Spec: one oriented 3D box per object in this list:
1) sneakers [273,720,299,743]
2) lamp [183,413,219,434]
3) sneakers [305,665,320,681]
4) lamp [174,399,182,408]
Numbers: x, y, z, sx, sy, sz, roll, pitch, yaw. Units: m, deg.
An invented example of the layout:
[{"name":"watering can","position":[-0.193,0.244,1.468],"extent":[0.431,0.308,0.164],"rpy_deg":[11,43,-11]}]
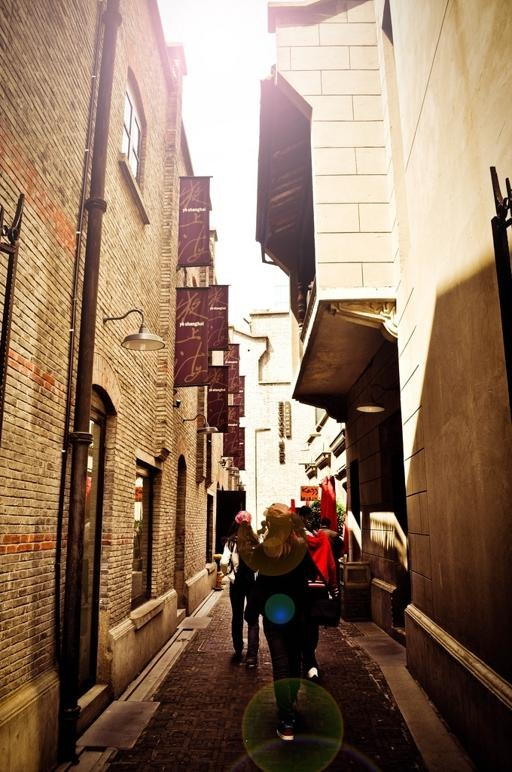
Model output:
[{"name":"sneakers","position":[0.233,2.572,3.902],"extent":[0.122,0.119,0.130],"rpy_deg":[-3,-15,5]},{"name":"lamp","position":[-1.368,1.068,14.375],"extent":[0.640,0.463,0.423],"rpy_deg":[-3,-8,12]},{"name":"sneakers","position":[0.618,3.112,5.662],"extent":[0.112,0.147,0.141],"rpy_deg":[17,-32,-34]},{"name":"lamp","position":[-1.546,0.365,10.408],"extent":[0.112,0.115,0.227],"rpy_deg":[1,-57,-6]}]
